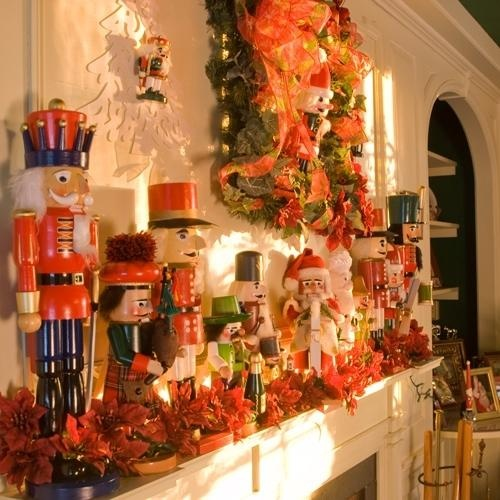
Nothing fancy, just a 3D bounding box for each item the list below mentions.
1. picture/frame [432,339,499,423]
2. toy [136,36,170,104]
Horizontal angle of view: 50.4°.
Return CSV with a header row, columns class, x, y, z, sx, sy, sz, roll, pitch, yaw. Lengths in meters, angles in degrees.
class,x,y,z,sx,sy,sz,roll,pitch,yaw
picture/frame,1.168,0.726,3.038,0.442,0.407,0.411,-3,-3,-6
toy,-0.227,-0.432,1.253,0.072,0.146,0.090,-2,-3,-18
